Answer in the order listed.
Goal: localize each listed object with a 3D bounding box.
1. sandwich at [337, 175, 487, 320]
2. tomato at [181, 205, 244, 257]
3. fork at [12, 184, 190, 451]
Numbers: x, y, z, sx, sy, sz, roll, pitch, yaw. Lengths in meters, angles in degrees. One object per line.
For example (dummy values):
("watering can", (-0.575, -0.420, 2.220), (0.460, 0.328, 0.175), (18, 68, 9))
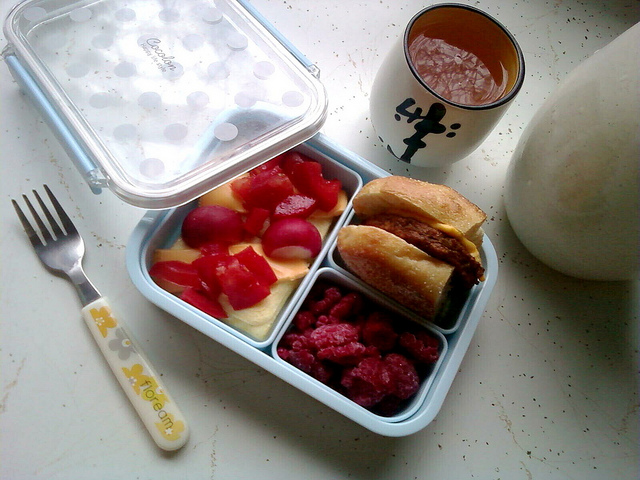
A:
("sandwich", (0.218, -0.007, 1.309), (0.307, 0.119, 0.360), (-13, 51, -2))
("tomato", (-0.244, -0.018, 1.332), (0.107, 0.054, 0.117), (37, 73, 2))
("fork", (-0.488, 0.169, 1.341), (0.097, 0.083, 0.684), (-34, 86, -7))
